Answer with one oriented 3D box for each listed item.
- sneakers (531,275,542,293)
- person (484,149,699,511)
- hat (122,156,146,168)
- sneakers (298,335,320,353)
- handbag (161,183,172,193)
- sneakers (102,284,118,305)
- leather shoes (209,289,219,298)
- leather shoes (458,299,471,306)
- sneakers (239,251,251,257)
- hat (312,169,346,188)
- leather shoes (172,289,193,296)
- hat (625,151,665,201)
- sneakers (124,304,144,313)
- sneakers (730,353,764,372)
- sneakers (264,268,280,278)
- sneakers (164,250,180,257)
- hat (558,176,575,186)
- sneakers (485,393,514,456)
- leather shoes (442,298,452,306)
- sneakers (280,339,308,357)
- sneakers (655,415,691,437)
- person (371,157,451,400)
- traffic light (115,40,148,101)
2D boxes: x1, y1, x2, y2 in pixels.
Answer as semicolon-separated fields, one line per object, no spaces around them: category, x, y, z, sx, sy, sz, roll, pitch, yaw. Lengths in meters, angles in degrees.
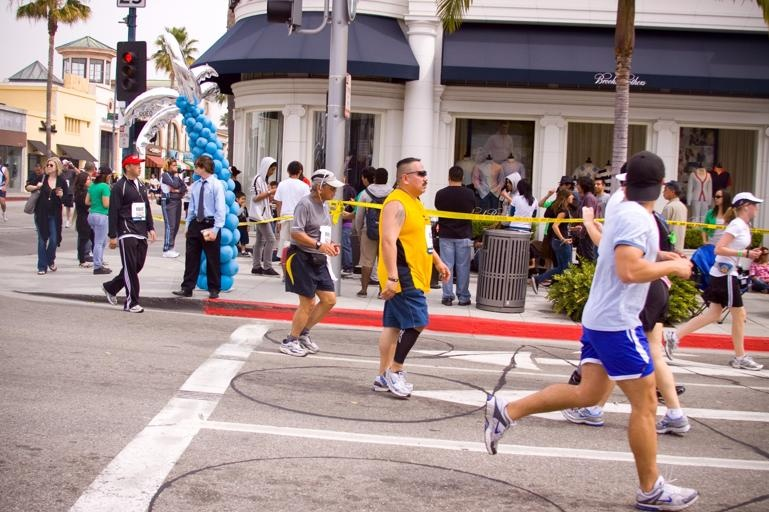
sneakers;3.286;0.642;14.834;0.161;0.204;0.508;-10;-24;4
person;1.912;0.590;5.891;1.509;2.963;0.518;4;5;28
hat;-4.088;-1.536;11.202;0.304;0.157;0.214;-10;5;1
sneakers;-1.022;1.192;9.325;0.326;0.147;0.143;16;8;43
handbag;-5.759;-1.776;18.103;0.386;0.218;0.373;1;1;6
sneakers;-4.543;0.641;11.427;0.134;0.315;0.107;-19;20;8
leather shoes;-2.981;0.651;12.057;0.136;0.127;0.313;0;-3;-17
leather shoes;1.509;0.885;12.964;0.089;0.103;0.239;2;-3;-31
sneakers;-3.751;-0.060;18.664;0.346;0.150;0.130;-3;4;22
hat;-0.753;-1.040;9.295;0.400;0.147;0.261;6;6;-3
leather shoes;-3.541;0.615;12.108;0.349;0.171;0.135;6;1;8
hat;2.197;-0.707;5.809;0.278;0.235;0.430;7;47;20
sneakers;-4.018;0.839;11.072;0.290;0.119;0.119;-1;0;21
sneakers;5.272;1.535;9.893;0.575;0.268;0.218;1;4;14
sneakers;-2.478;0.381;15.277;0.367;0.158;0.160;3;7;-3
sneakers;-5.372;-0.056;17.355;0.305;0.149;0.163;-3;1;31
hat;3.918;-1.622;14.972;0.349;0.152;0.395;1;4;3
sneakers;1.028;1.516;6.241;0.264;0.583;0.198;-3;16;1
leather shoes;1.175;0.852;12.871;0.084;0.109;0.224;2;6;-1
sneakers;-1.201;1.209;9.159;0.414;0.207;0.165;4;8;5
sneakers;3.019;1.770;7.309;0.443;0.215;0.184;0;11;10
person;0.237;0.226;7.930;0.670;2.703;0.503;0;4;-20
traffic light;-5.527;-4.011;15.027;0.682;1.345;0.622;1;4;-9
